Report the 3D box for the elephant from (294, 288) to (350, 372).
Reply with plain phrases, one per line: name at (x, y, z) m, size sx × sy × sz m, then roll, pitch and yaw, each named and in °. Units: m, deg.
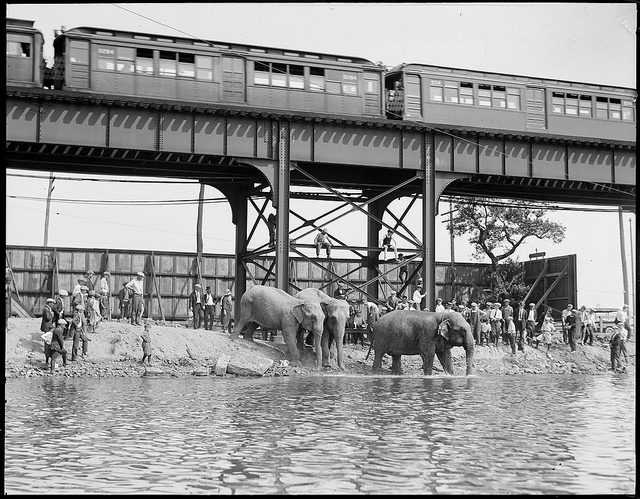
elephant at (0.033, 2.893, 43.521) m, size 1.280 × 2.528 × 4.147 m, roll 4°, pitch 6°, yaw -23°
